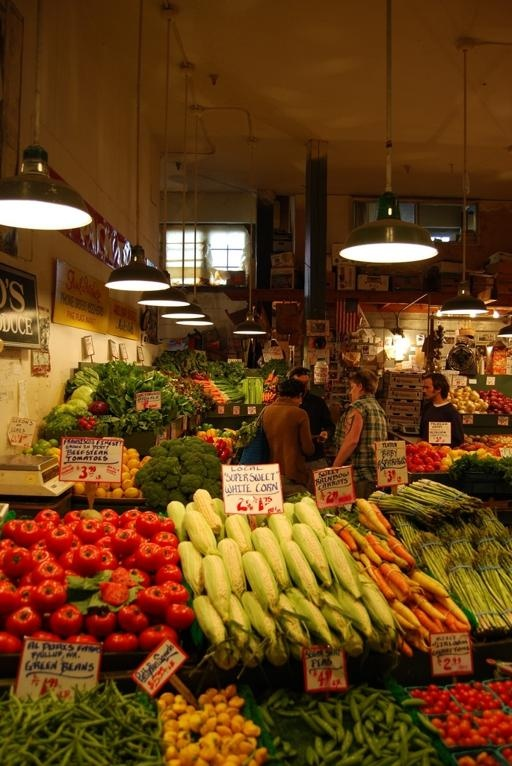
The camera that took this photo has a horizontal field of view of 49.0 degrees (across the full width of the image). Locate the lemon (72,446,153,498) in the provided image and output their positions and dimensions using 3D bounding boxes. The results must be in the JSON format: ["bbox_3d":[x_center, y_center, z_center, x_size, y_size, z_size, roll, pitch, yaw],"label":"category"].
[{"bbox_3d":[-0.841,0.524,3.328,0.294,0.247,0.352,1,4,-5],"label":"lemon"}]

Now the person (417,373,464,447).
[{"bbox_3d":[1.833,0.271,5.565,0.381,0.721,0.484,0,0,16],"label":"person"}]

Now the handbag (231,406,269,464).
[{"bbox_3d":[-0.029,0.412,4.348,0.272,0.443,0.283,1,3,-12],"label":"handbag"}]

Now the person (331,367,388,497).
[{"bbox_3d":[0.767,0.357,4.177,0.337,1.054,0.438,0,1,43],"label":"person"}]

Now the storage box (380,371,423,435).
[{"bbox_3d":[2.169,0.286,8.399,0.608,0.937,0.518,0,2,-2],"label":"storage box"}]

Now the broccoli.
[{"bbox_3d":[-0.437,0.482,3.083,0.345,0.238,0.369,-5,4,-30],"label":"broccoli"}]
